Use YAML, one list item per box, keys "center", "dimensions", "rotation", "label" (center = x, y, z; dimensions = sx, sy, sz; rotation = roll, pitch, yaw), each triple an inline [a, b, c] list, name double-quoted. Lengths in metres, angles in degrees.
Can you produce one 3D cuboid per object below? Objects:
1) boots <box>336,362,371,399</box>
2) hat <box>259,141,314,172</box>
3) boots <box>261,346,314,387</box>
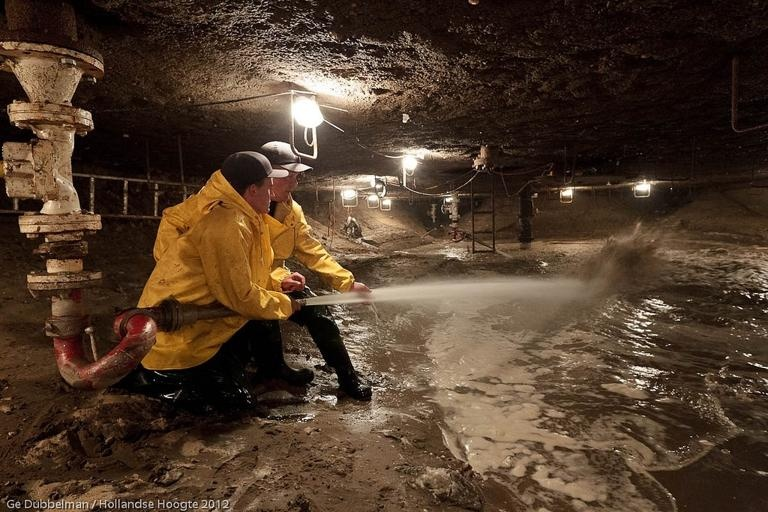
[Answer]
- center: [-0.349, 1.581, 7.123]
  dimensions: [0.611, 0.421, 0.288]
  rotation: [-6, 5, 42]
  label: "boots"
- center: [-1.239, -1.223, 7.010]
  dimensions: [0.691, 0.231, 0.375]
  rotation: [0, 16, -9]
  label: "hat"
- center: [-1.378, 1.403, 7.248]
  dimensions: [0.377, 0.504, 0.884]
  rotation: [-17, -21, 40]
  label: "boots"
